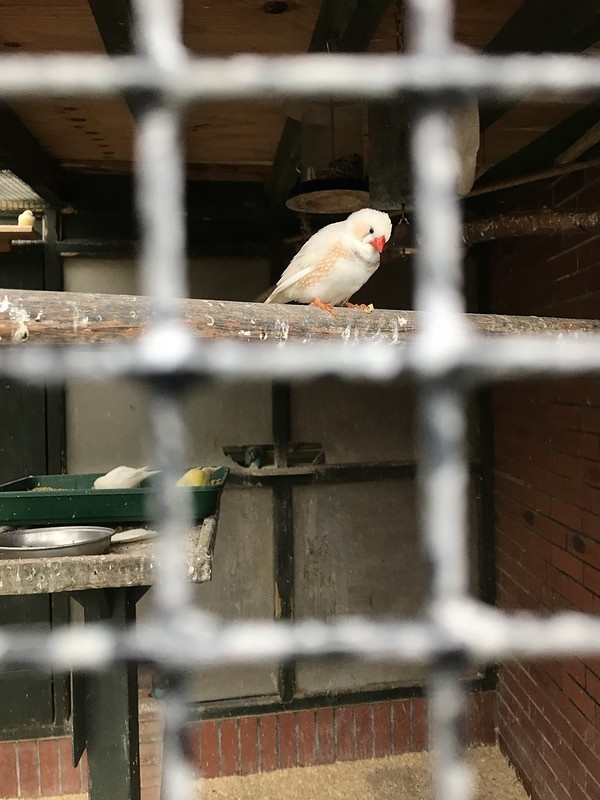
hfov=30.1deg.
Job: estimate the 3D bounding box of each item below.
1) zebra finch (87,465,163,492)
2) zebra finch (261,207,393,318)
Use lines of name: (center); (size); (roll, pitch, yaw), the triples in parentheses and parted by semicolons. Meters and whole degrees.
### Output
zebra finch: (-0.444, 0.200, 2.833); (0.116, 0.149, 0.049); (-7, 97, 10)
zebra finch: (0.064, -0.333, 2.700); (0.363, 0.192, 0.264); (7, 100, 27)
